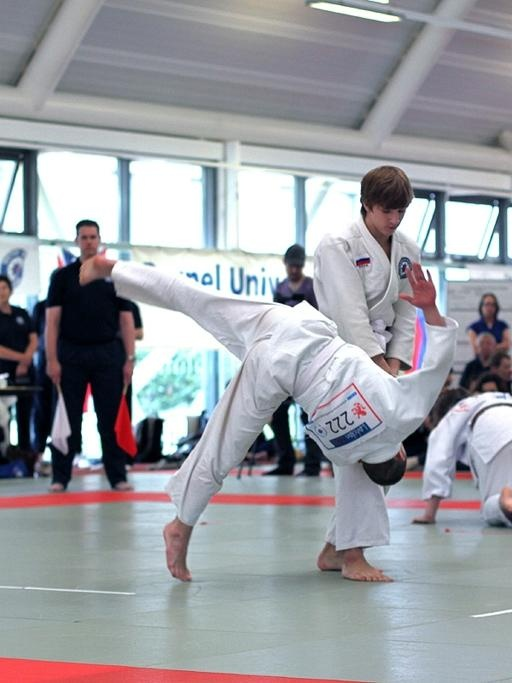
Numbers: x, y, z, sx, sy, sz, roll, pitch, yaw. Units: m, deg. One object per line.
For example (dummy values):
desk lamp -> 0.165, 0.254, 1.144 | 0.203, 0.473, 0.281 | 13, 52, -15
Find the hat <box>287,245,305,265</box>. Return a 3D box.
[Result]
hat -> 0.372, -0.809, 8.030 | 0.160, 0.196, 0.204 | 1, -20, -4
